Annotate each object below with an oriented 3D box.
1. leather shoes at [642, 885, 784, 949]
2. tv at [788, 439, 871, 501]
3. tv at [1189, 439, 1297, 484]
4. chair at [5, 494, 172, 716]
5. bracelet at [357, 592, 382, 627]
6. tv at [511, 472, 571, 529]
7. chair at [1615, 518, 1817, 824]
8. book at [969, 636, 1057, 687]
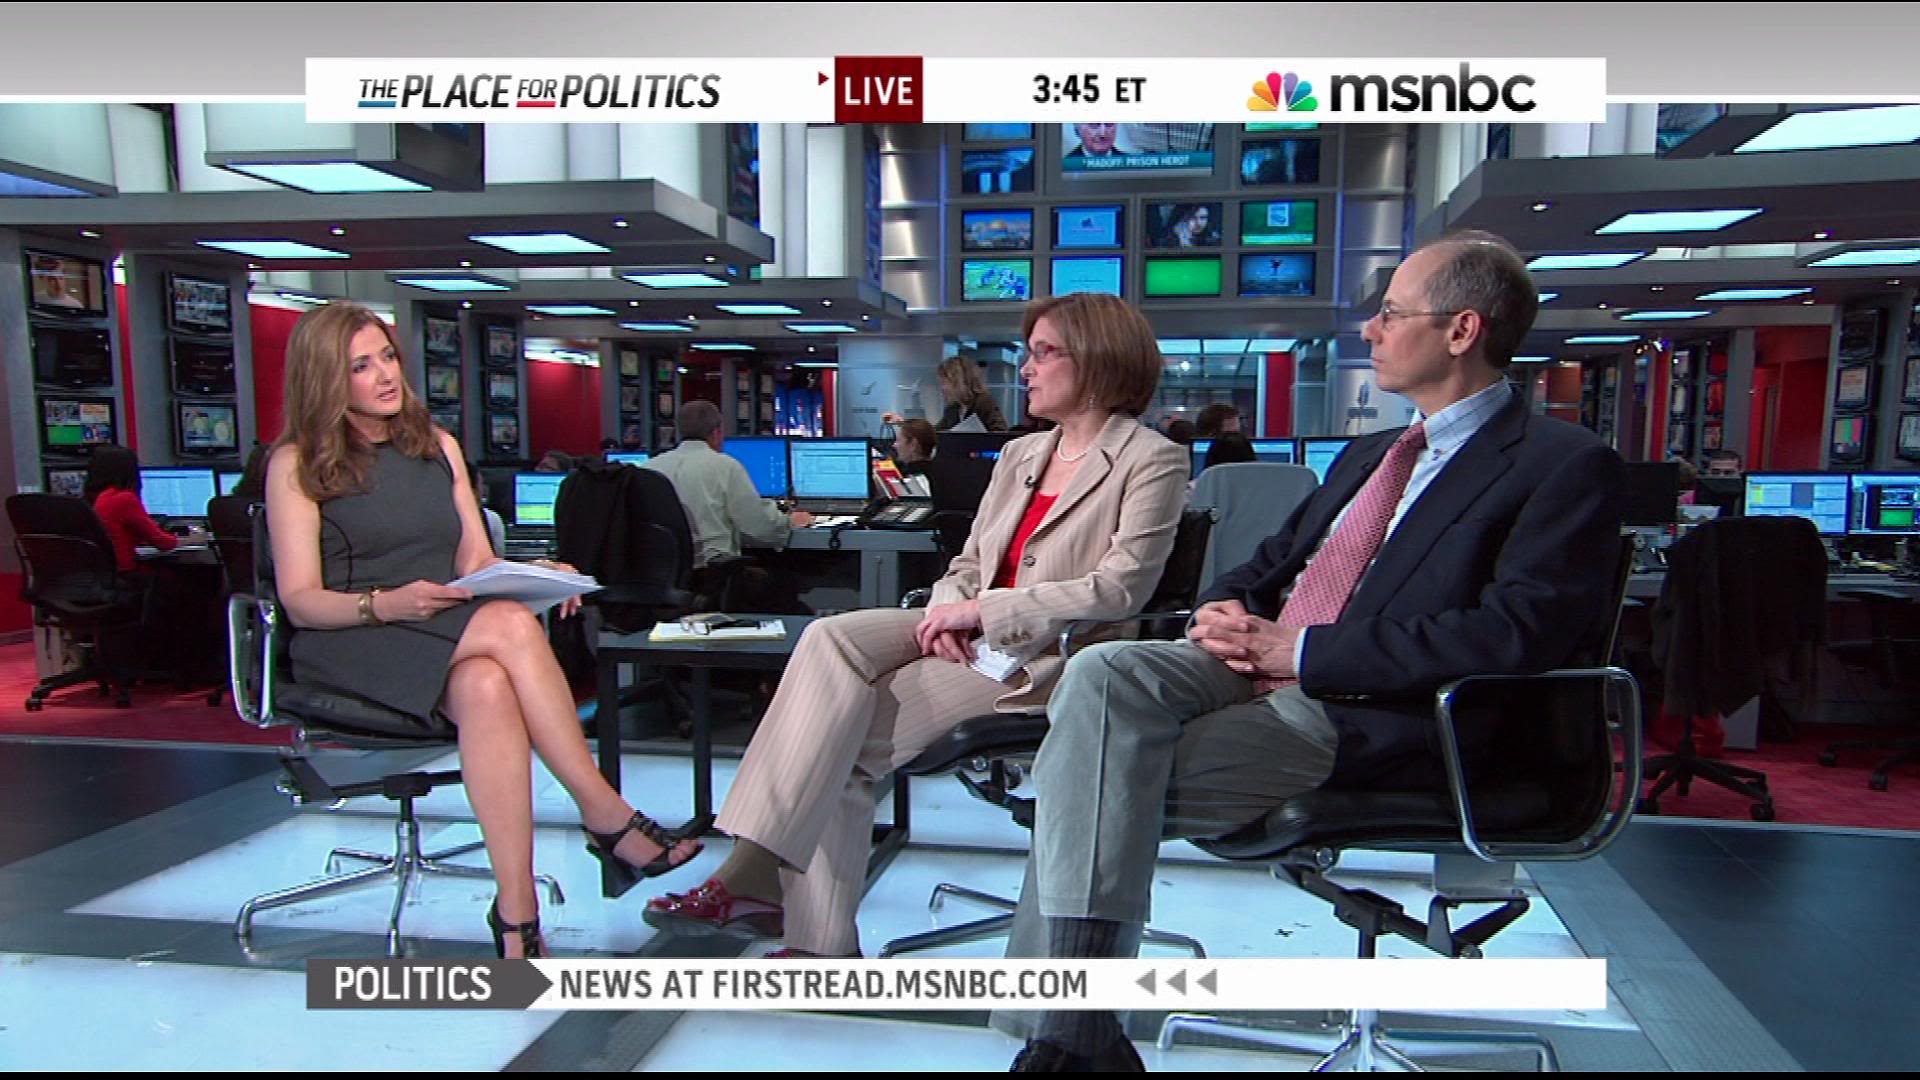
[{"bbox_3d":[-0.844,1.294,4.150,0.508,0.161,0.194,5,-9,-9],"label":"leather shoes"},{"bbox_3d":[-0.831,-0.471,7.761,0.503,0.295,0.061,1,6,6],"label":"tv"},{"bbox_3d":[1.672,-0.461,6.982,0.565,0.296,0.177,0,26,-3],"label":"tv"},{"bbox_3d":[-5.253,0.368,7.099,0.712,1.283,0.618,-4,14,-11],"label":"chair"},{"bbox_3d":[-2.165,0.252,4.405,0.087,0.104,0.069,-1,14,0],"label":"bracelet"},{"bbox_3d":[-2.668,-0.259,7.640,0.503,0.367,0.325,1,0,-1],"label":"tv"},{"bbox_3d":[3.690,0.628,5.710,0.776,1.453,0.496,2,15,14],"label":"chair"},{"bbox_3d":[0.149,0.439,4.275,0.216,0.047,0.228,9,19,32],"label":"book"}]
